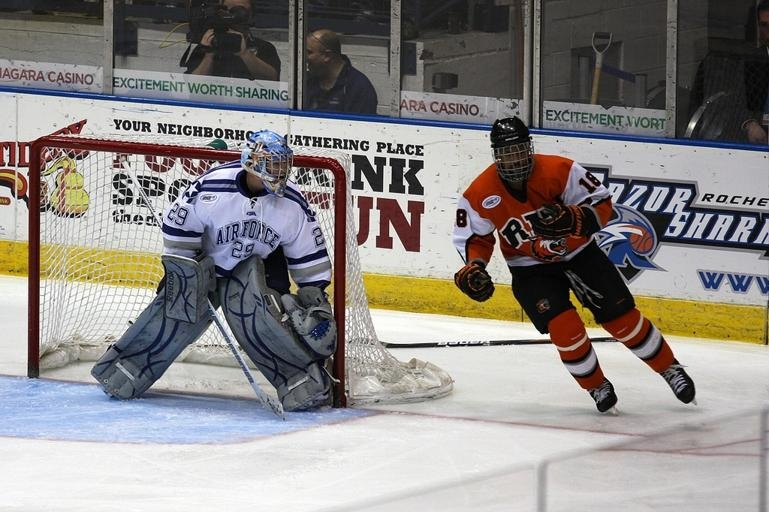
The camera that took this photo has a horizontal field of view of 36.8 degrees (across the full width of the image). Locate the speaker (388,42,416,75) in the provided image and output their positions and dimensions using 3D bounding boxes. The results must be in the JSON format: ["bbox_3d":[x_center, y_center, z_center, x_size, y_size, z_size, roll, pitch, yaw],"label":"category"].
[{"bbox_3d":[0.181,-1.444,8.289,0.114,0.237,0.039,7,10,17],"label":"speaker"}]

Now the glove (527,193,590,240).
[{"bbox_3d":[0.924,-0.196,6.136,0.256,0.093,0.194,-3,15,32],"label":"glove"}]

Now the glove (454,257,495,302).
[{"bbox_3d":[0.488,0.130,6.338,0.191,0.243,0.094,-43,2,6],"label":"glove"}]

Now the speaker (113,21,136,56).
[{"bbox_3d":[-1.915,-1.657,8.617,0.176,0.264,0.042,4,10,4],"label":"speaker"}]

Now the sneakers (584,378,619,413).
[{"bbox_3d":[1.188,0.782,6.296,0.120,0.091,0.262,35,17,-24],"label":"sneakers"}]

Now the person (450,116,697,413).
[{"bbox_3d":[1.002,0.066,6.251,1.276,1.602,0.348,4,10,2],"label":"person"}]

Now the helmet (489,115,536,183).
[{"bbox_3d":[0.682,-0.578,6.176,0.222,0.333,0.114,4,10,2],"label":"helmet"}]

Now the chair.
[{"bbox_3d":[2.107,-1.084,7.617,0.502,0.570,0.239,10,16,24],"label":"chair"}]
